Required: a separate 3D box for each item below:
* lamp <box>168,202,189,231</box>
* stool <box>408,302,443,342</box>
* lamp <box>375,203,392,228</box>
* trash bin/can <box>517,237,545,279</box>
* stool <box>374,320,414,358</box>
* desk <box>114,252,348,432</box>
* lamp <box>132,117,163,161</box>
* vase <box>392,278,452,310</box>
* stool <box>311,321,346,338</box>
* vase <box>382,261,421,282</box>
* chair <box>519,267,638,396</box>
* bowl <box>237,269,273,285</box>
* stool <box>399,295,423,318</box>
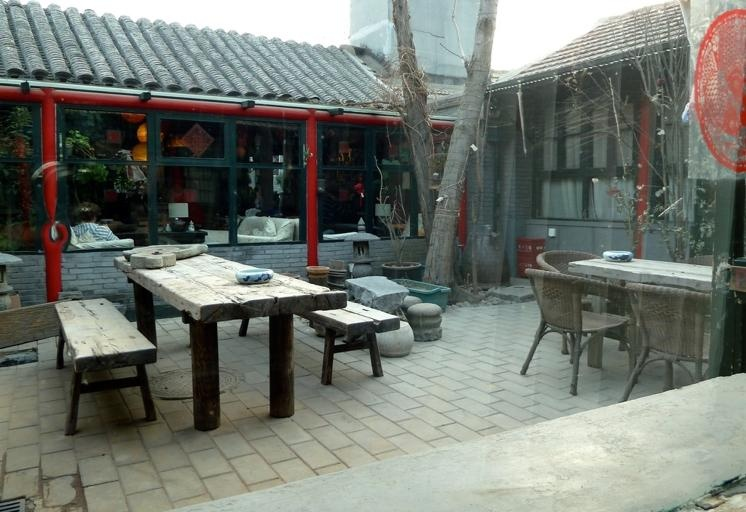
[{"bbox_3d":[-2.288,-0.462,6.895,0.229,0.350,0.152,-5,15,-16],"label":"lamp"},{"bbox_3d":[0.541,0.661,5.826,0.399,0.304,0.392,-5,3,41],"label":"stool"},{"bbox_3d":[0.135,-0.595,8.142,0.211,0.283,0.302,-1,-6,-6],"label":"lamp"},{"bbox_3d":[0.887,0.006,3.245,0.149,0.198,0.127,-8,9,-28],"label":"trash bin/can"},{"bbox_3d":[0.182,0.762,5.427,0.378,0.253,0.342,0,-1,-5],"label":"stool"},{"bbox_3d":[-1.122,0.589,4.512,0.968,0.948,1.822,-9,14,-32],"label":"desk"},{"bbox_3d":[-2.610,-1.293,6.668,0.281,0.351,0.271,10,4,28],"label":"lamp"},{"bbox_3d":[0.536,0.415,6.372,0.291,0.163,0.522,-3,6,-37],"label":"vase"},{"bbox_3d":[-0.484,0.730,5.858,0.266,0.206,0.336,0,0,-24],"label":"stool"},{"bbox_3d":[0.345,0.202,7.619,0.345,0.211,0.317,0,-1,-19],"label":"vase"},{"bbox_3d":[1.383,0.467,4.057,0.834,0.689,0.714,0,3,7],"label":"chair"},{"bbox_3d":[-0.843,0.143,4.158,0.161,0.053,0.143,-7,9,-23],"label":"bowl"},{"bbox_3d":[0.373,0.531,6.104,0.237,0.178,0.220,0,2,-23],"label":"stool"}]
